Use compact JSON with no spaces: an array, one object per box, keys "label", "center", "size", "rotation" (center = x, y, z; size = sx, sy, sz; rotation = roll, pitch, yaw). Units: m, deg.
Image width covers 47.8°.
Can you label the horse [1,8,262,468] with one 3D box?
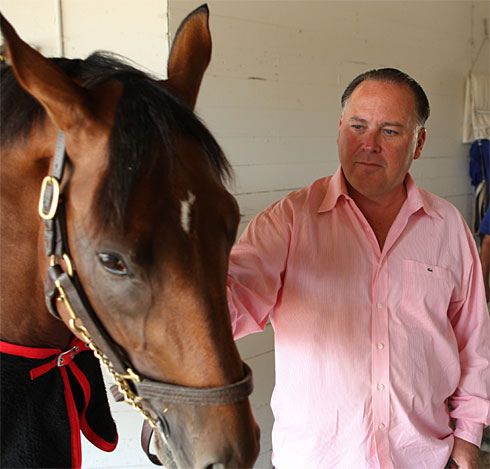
[{"label":"horse","center":[-0.228,0.013,1.100],"size":[0.539,0.831,0.324],"rotation":[2,7,0]}]

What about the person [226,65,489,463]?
[{"label":"person","center":[0.328,0.093,1.508],"size":[0.745,1.099,0.353],"rotation":[2,7,-2]}]
